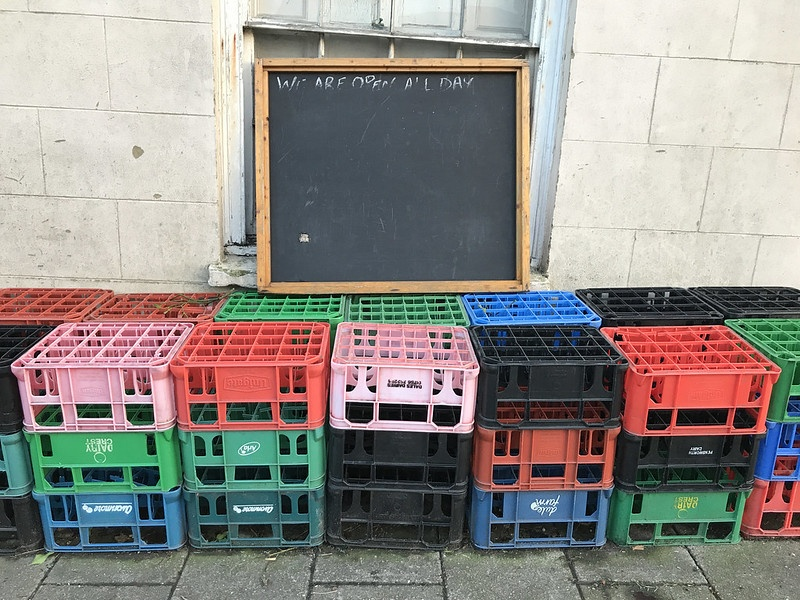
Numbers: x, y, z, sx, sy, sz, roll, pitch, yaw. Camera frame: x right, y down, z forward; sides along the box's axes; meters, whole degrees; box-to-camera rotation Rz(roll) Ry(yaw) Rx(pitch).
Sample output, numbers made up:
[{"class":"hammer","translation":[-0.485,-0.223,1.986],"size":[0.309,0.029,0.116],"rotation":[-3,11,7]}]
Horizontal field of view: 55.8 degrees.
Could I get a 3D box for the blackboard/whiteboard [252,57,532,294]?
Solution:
[{"class":"blackboard/whiteboard","translation":[-0.125,-1.029,6.110],"size":[1.889,1.524,0.181],"rotation":[-1,9,-1]}]
